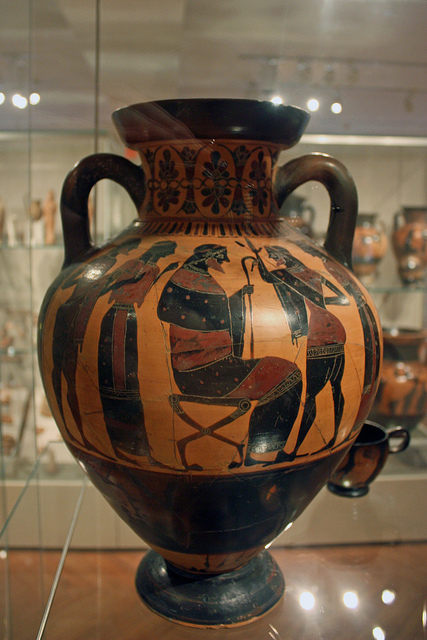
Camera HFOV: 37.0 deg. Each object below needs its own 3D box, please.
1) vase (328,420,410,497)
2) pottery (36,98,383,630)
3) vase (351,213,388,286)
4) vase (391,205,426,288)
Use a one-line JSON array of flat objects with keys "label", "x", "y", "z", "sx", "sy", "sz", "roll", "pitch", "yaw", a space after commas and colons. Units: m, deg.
[{"label": "vase", "x": 0.262, "y": 0.217, "z": 1.019, "sx": 0.124, "sy": 0.147, "sz": 0.125, "roll": -1, "pitch": 1, "yaw": -11}, {"label": "pottery", "x": -0.002, "y": 0.041, "z": 0.820, "sx": 0.428, "sy": 0.556, "sz": 0.427, "roll": 7, "pitch": 12, "yaw": 38}, {"label": "vase", "x": 0.474, "y": -0.221, "z": 1.985, "sx": 0.131, "sy": 0.211, "sz": 0.128, "roll": -3, "pitch": 11, "yaw": 0}, {"label": "vase", "x": 0.606, "y": -0.229, "z": 2.003, "sx": 0.076, "sy": 0.274, "sz": 0.078, "roll": -1, "pitch": 15, "yaw": -15}]
